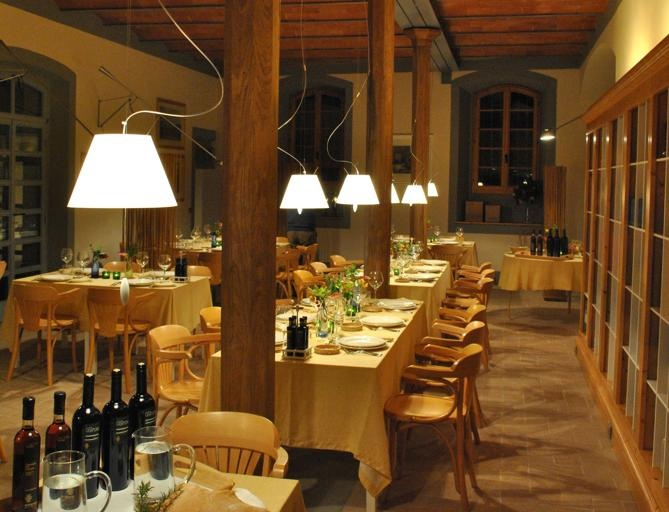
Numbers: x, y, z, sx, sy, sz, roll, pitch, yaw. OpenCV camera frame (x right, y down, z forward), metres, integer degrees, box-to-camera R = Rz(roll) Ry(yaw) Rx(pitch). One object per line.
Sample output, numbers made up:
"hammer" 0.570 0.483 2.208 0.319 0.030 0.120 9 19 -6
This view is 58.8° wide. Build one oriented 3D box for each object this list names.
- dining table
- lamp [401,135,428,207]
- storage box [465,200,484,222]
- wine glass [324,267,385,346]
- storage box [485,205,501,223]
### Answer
"dining table" 2.919 0.275 8.627 0.951 0.698 1.044 1 5 4
"lamp" 1.073 -1.039 7.896 0.326 0.704 0.353 1 3 -8
"storage box" 2.808 -0.892 11.882 0.333 0.386 0.369 0 1 15
"wine glass" 0.093 0.326 4.567 0.326 0.919 0.197 -3 12 -10
"storage box" 3.178 -0.901 11.931 0.366 0.422 0.285 2 6 20
